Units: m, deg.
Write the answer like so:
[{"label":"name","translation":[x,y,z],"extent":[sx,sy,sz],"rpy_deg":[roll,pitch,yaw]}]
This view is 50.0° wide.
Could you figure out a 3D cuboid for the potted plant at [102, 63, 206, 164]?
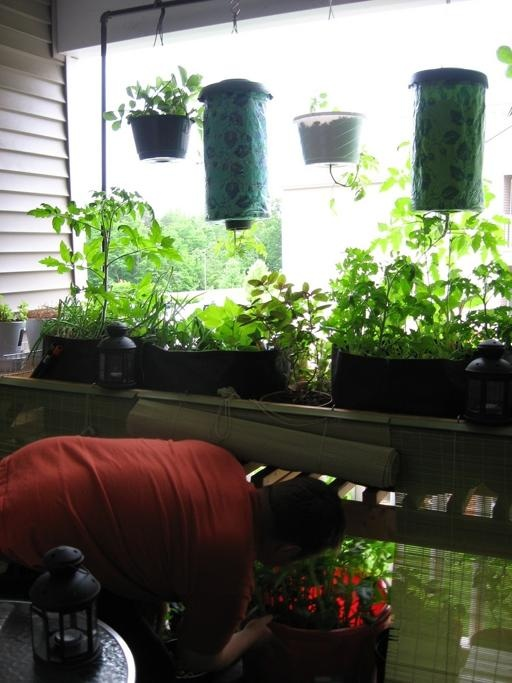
[{"label":"potted plant","translation":[-0.281,-0.620,1.642],"extent":[0.292,0.187,0.287],"rpy_deg":[-6,-3,26]}]

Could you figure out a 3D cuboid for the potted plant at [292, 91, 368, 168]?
[{"label":"potted plant","translation":[0.188,-0.536,1.402],"extent":[0.161,0.093,0.157],"rpy_deg":[-2,2,-43]}]
